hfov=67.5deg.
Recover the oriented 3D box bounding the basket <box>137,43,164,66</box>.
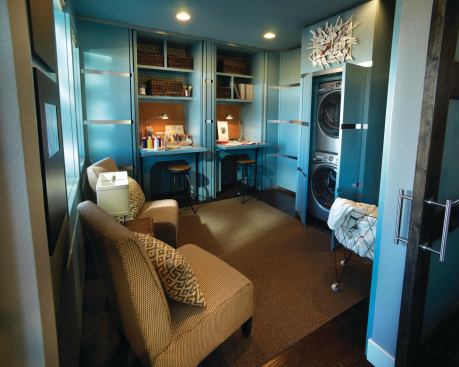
[{"bbox_3d":[-1.143,-1.882,4.951,0.364,0.397,0.596,-6,11,-12],"label":"basket"}]

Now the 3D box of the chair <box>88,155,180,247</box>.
[{"bbox_3d":[-0.963,0.318,3.539,0.820,1.006,1.022,-4,11,-21],"label":"chair"}]

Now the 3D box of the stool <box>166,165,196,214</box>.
[{"bbox_3d":[-0.718,0.062,5.130,0.387,0.763,0.403,-8,24,-14],"label":"stool"}]

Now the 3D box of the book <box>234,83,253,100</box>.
[{"bbox_3d":[0.227,-1.580,6.004,0.267,0.409,0.384,-4,16,-17],"label":"book"}]

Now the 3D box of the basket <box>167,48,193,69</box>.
[{"bbox_3d":[-0.755,-1.930,5.245,0.385,0.392,0.510,-5,11,-8],"label":"basket"}]

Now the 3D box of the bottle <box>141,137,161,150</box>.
[{"bbox_3d":[-1.134,-0.597,4.984,0.220,0.199,0.240,-6,14,-31],"label":"bottle"}]

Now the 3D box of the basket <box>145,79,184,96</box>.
[{"bbox_3d":[-0.945,-1.420,5.069,0.587,0.251,0.277,-7,11,-15],"label":"basket"}]
